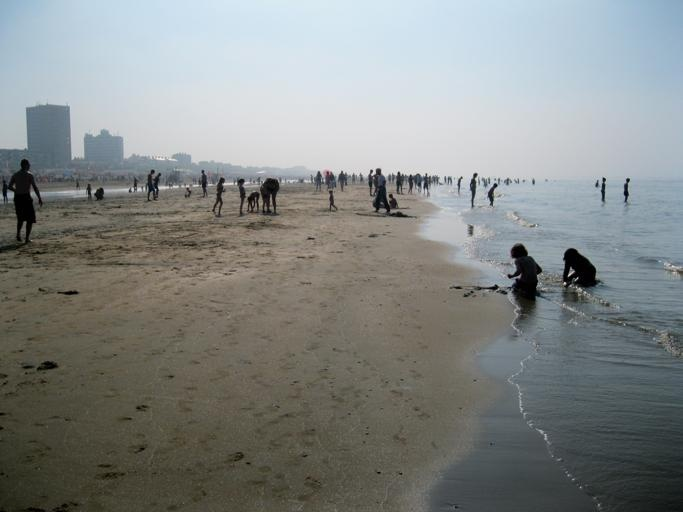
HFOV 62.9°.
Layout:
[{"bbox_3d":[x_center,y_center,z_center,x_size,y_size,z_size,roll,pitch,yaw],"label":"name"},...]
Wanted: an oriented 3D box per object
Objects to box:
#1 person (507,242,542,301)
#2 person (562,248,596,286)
[{"bbox_3d":[3.885,0.276,11.848,0.658,1.052,1.186,3,9,18],"label":"person"},{"bbox_3d":[5.319,0.357,12.509,0.612,0.390,1.013,5,-20,39],"label":"person"}]
